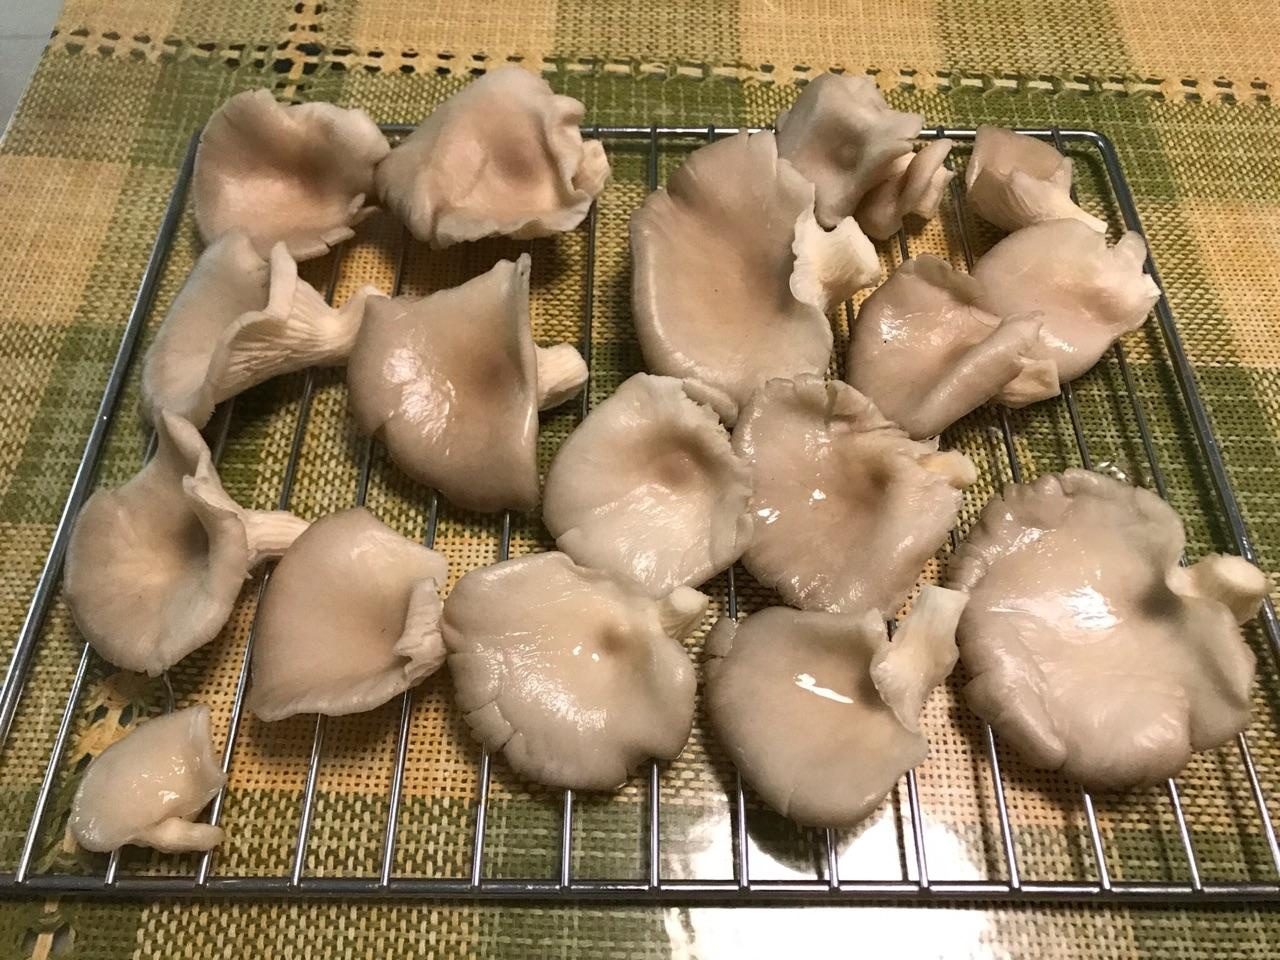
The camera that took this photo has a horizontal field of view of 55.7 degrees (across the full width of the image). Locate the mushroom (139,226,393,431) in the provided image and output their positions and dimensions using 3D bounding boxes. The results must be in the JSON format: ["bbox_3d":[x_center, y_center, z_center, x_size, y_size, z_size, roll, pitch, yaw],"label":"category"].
[{"bbox_3d":[-0.656,-0.233,2.140,0.336,0.172,0.366,0,47,-11],"label":"mushroom"}]

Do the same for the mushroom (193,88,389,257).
[{"bbox_3d":[-0.641,-0.568,2.255,0.399,0.147,0.350,-29,50,-30],"label":"mushroom"}]

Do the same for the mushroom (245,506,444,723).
[{"bbox_3d":[-0.478,0.222,2.008,0.316,0.129,0.338,-1,58,-8],"label":"mushroom"}]

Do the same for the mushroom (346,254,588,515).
[{"bbox_3d":[-0.278,-0.189,2.156,0.339,0.154,0.434,25,83,26],"label":"mushroom"}]

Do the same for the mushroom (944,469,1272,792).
[{"bbox_3d":[0.739,0.245,2.030,0.421,0.213,0.511,-14,60,-15],"label":"mushroom"}]

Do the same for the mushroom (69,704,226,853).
[{"bbox_3d":[-0.789,0.497,1.973,0.235,0.166,0.194,-1,56,-7],"label":"mushroom"}]

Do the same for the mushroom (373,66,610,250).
[{"bbox_3d":[-0.259,-0.570,2.188,0.342,0.144,0.347,33,71,18],"label":"mushroom"}]

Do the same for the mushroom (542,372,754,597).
[{"bbox_3d":[0.029,0.018,2.080,0.338,0.146,0.417,14,52,15],"label":"mushroom"}]

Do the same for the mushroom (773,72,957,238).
[{"bbox_3d":[0.406,-0.605,2.341,0.310,0.202,0.290,15,73,-3],"label":"mushroom"}]

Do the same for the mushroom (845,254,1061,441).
[{"bbox_3d":[0.546,-0.269,2.144,0.337,0.141,0.339,42,76,15],"label":"mushroom"}]
